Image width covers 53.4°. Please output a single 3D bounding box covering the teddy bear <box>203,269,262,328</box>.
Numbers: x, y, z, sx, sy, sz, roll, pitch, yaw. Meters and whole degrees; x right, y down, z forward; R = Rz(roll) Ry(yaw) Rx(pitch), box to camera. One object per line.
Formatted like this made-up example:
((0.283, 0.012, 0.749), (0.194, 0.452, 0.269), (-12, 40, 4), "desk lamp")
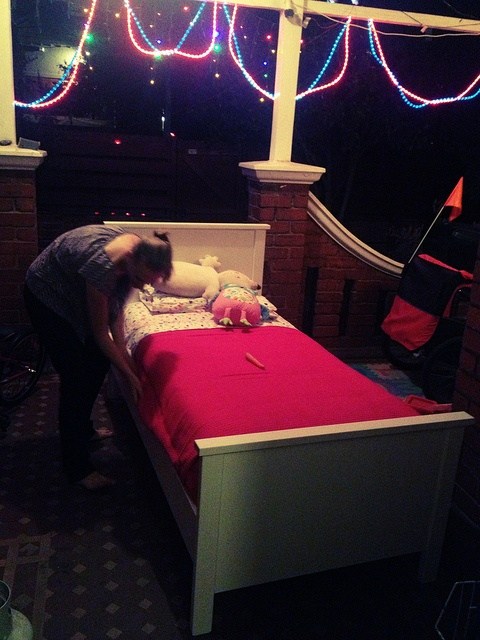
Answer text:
((-0.030, -0.114, 2.847), (0.284, 0.334, 0.311), (12, 15, -15), "teddy bear")
